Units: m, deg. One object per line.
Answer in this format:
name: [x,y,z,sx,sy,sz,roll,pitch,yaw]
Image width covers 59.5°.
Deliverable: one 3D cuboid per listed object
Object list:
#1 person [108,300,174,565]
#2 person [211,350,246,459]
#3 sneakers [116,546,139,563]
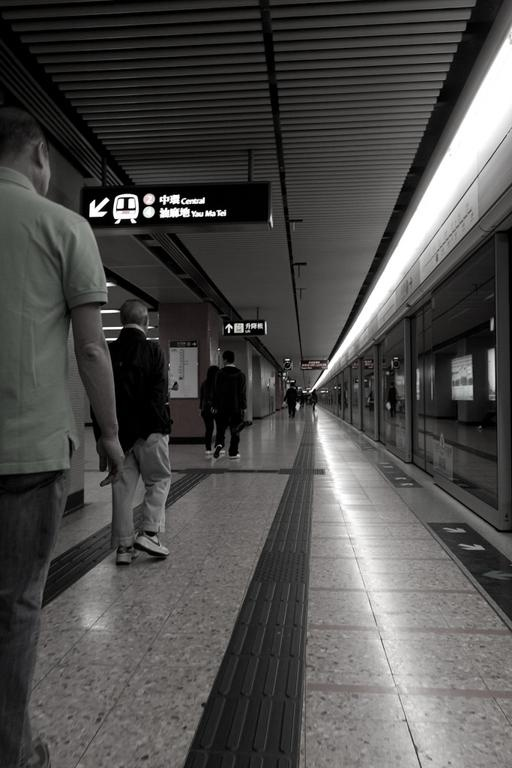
person: [-0.751,0.274,2.894,0.365,1.634,0.436,-4,-6,17]
person: [-0.467,0.330,7.774,0.558,1.892,0.649,1,-2,-8]
sneakers: [-0.775,1.017,2.719,0.054,0.088,0.173,0,-7,5]
